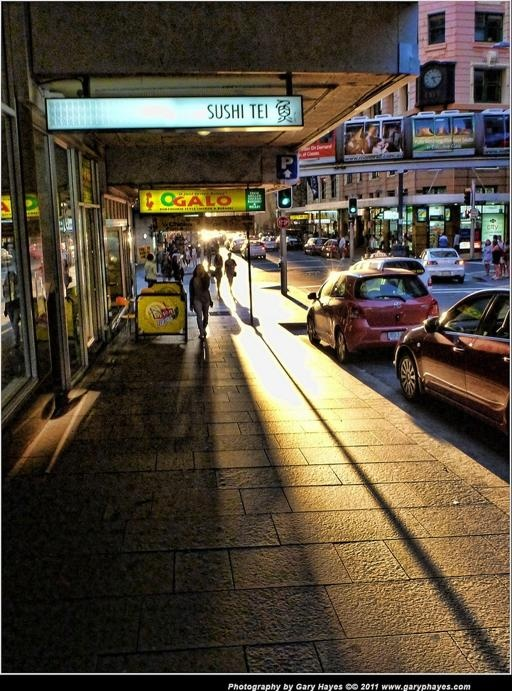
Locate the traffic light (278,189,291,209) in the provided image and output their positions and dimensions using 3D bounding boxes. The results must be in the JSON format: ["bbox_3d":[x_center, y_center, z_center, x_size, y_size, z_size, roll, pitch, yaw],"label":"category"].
[{"bbox_3d":[0.942,-5.000,17.193,0.451,0.708,0.695,-1,5,1],"label":"traffic light"}]

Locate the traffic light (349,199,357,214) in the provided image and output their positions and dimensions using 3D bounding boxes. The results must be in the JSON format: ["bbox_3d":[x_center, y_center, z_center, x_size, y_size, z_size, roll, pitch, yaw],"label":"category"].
[{"bbox_3d":[6.406,-9.288,34.006,0.433,1.062,0.757,0,5,7],"label":"traffic light"}]
